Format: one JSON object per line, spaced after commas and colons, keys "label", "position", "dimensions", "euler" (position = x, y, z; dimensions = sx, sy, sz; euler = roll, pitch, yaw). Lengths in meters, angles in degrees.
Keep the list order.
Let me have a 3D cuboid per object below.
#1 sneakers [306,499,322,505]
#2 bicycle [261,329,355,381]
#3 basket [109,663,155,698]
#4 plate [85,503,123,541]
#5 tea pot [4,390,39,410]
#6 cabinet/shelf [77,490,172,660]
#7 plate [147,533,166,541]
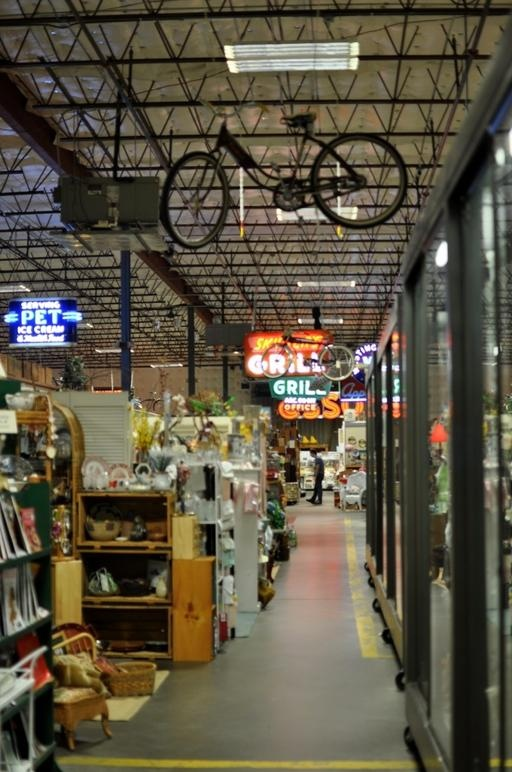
{"label": "sneakers", "position": [1.876, 3.784, 21.193], "dimensions": [0.441, 0.208, 0.150], "euler": [7, -10, 16]}
{"label": "bicycle", "position": [1.324, -0.744, 16.049], "dimensions": [2.150, 1.454, 1.131], "euler": [1, -14, 3]}
{"label": "basket", "position": [-0.827, 1.956, 4.377], "dimensions": [0.302, 0.183, 0.287], "euler": [-1, -3, -8]}
{"label": "plate", "position": [-1.271, 1.146, 5.493], "dimensions": [0.228, 0.191, 0.265], "euler": [1, 1, 10]}
{"label": "tea pot", "position": [-1.157, 0.079, 3.262], "dimensions": [0.147, 0.109, 0.138], "euler": [-4, 1, 0]}
{"label": "cabinet/shelf", "position": [-1.064, 1.534, 5.485], "dimensions": [0.778, 1.339, 0.564], "euler": [-2, -2, -4]}
{"label": "plate", "position": [-0.820, 1.256, 5.432], "dimensions": [0.161, 0.067, 0.057], "euler": [-2, -3, 9]}
